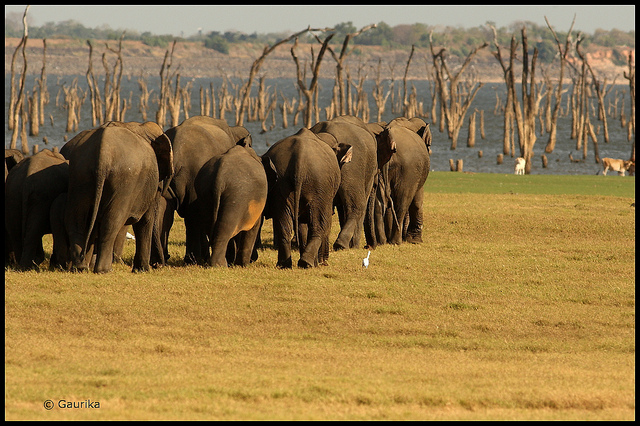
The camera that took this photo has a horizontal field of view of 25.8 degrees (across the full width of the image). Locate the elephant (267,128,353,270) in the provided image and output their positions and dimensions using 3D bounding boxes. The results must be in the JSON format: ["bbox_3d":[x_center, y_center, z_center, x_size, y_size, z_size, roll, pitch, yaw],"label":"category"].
[{"bbox_3d":[-0.414,-0.524,48.887,2.644,4.798,2.327,3,4,18],"label":"elephant"}]

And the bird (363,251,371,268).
[{"bbox_3d":[1.658,1.658,48.396,0.134,0.487,0.220,9,-41,11],"label":"bird"}]

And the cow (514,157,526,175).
[{"bbox_3d":[10.376,-2.402,72.092,0.495,0.853,1.597,8,11,7],"label":"cow"}]

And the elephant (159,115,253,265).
[{"bbox_3d":[-3.888,-0.645,47.977,3.923,4.833,8.498,1,11,7],"label":"elephant"}]

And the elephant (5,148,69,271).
[{"bbox_3d":[-9.648,-0.016,47.241,1.967,3.930,1.264,5,11,-12],"label":"elephant"}]

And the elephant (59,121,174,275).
[{"bbox_3d":[-7.171,-0.498,49.604,3.767,5.311,7.190,6,3,2],"label":"elephant"}]

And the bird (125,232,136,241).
[{"bbox_3d":[-6.915,0.909,50.818,0.194,0.267,0.522,-3,-11,25],"label":"bird"}]

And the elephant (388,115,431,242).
[{"bbox_3d":[3.268,-1.177,51.695,2.004,2.678,4.406,-2,13,6],"label":"elephant"}]

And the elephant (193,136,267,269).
[{"bbox_3d":[-2.780,-0.418,48.137,2.322,4.399,3.833,4,7,15],"label":"elephant"}]
